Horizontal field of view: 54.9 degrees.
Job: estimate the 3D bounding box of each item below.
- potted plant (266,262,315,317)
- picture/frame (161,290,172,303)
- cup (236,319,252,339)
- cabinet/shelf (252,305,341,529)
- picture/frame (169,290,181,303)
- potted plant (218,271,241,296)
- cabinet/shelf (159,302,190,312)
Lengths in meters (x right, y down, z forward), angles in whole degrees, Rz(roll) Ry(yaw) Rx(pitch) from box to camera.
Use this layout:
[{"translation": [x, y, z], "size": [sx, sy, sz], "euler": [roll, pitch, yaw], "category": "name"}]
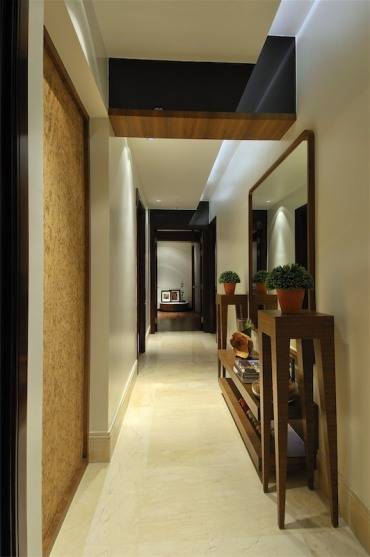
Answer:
[{"translation": [0.539, 0.018, 1.813], "size": [0.176, 0.292, 0.234], "euler": [-3, 19, 5], "category": "potted plant"}, {"translation": [-0.651, 0.639, 12.365], "size": [0.275, 0.505, 0.029], "euler": [-3, -19, 8], "category": "picture/frame"}, {"translation": [0.489, 0.403, 2.970], "size": [0.102, 0.257, 0.130], "euler": [0, 0, -2], "category": "cup"}, {"translation": [0.541, 0.624, 1.712], "size": [0.352, 0.925, 0.436], "euler": [0, 0, 9], "category": "cabinet/shelf"}, {"translation": [-0.363, 0.625, 12.358], "size": [0.259, 0.451, 0.029], "euler": [0, -2, -3], "category": "picture/frame"}, {"translation": [0.473, 0.067, 3.905], "size": [0.178, 0.292, 0.228], "euler": [0, -3, -4], "category": "potted plant"}, {"translation": [-0.345, 0.947, 11.965], "size": [1.041, 0.217, 0.672], "euler": [-1, 0, -6], "category": "cabinet/shelf"}]
